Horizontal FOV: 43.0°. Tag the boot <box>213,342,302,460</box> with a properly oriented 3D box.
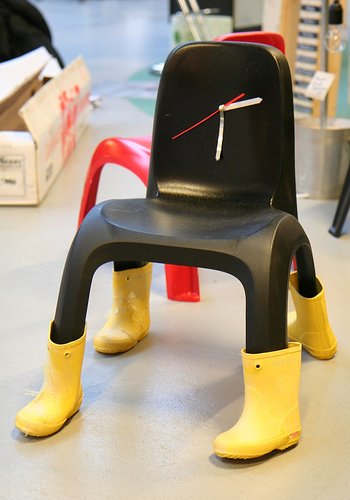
[{"bbox_3d":[0.157,0.290,0.849,0.191,0.185,0.084,-3,0,-20],"label":"boot"}]

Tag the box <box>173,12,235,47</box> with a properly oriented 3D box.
[{"bbox_3d":[0.302,-2.503,5.109,0.674,0.335,1.083,-1,28,0],"label":"box"}]

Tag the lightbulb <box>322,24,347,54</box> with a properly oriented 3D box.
[{"bbox_3d":[0.739,-1.005,2.113,0.096,0.118,0.160,-13,30,-21],"label":"lightbulb"}]

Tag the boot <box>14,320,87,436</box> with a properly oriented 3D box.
[{"bbox_3d":[-0.256,0.270,0.926,0.086,0.178,0.192,11,19,19],"label":"boot"}]

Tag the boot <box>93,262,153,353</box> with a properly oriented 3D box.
[{"bbox_3d":[-0.151,0.165,1.283,0.103,0.230,0.238,8,16,26],"label":"boot"}]
